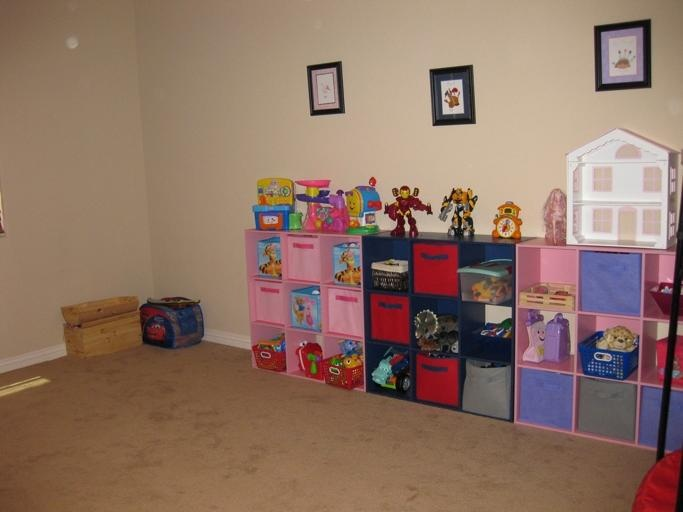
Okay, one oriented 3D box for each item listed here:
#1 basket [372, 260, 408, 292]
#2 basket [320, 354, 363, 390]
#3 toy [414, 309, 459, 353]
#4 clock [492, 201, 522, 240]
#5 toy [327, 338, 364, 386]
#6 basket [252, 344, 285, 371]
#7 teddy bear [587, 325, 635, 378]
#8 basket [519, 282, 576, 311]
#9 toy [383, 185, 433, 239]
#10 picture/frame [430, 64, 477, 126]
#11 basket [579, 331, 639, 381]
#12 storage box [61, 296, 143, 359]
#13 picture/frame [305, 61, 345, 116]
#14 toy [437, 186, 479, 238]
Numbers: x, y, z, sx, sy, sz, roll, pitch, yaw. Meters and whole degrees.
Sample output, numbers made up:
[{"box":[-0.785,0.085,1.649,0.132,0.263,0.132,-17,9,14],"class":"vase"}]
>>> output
[{"box":[0.336,0.130,3.874,0.214,0.154,0.221,2,2,29],"class":"basket"},{"box":[0.012,0.852,4.142,0.254,0.162,0.251,-5,7,-42],"class":"basket"},{"box":[0.655,0.516,3.833,0.302,0.244,0.256,-2,2,-13],"class":"toy"},{"box":[1.078,-0.225,3.599,0.170,0.219,0.151,-1,13,8],"class":"clock"},{"box":[0.048,0.826,4.169,0.225,0.168,0.360,0,0,29],"class":"toy"},{"box":[-0.591,0.820,4.481,0.246,0.142,0.183,1,3,29],"class":"basket"},{"box":[1.625,0.573,3.333,0.242,0.211,0.317,1,2,42],"class":"teddy bear"},{"box":[1.314,0.250,3.513,0.323,0.097,0.369,3,14,23],"class":"basket"},{"box":[0.501,-0.327,4.021,0.379,0.370,0.127,5,10,36],"class":"toy"},{"box":[0.794,-1.140,3.849,0.418,0.497,0.065,3,13,32],"class":"picture/frame"},{"box":[1.585,0.610,3.310,0.254,0.164,0.259,5,11,36],"class":"basket"},{"box":[-2.129,0.637,5.048,0.795,0.642,0.424,-8,10,-44],"class":"storage box"},{"box":[-0.113,-1.338,4.341,0.411,0.484,0.036,6,16,32],"class":"picture/frame"},{"box":[0.827,-0.311,3.851,0.334,0.428,0.170,4,8,43],"class":"toy"}]
